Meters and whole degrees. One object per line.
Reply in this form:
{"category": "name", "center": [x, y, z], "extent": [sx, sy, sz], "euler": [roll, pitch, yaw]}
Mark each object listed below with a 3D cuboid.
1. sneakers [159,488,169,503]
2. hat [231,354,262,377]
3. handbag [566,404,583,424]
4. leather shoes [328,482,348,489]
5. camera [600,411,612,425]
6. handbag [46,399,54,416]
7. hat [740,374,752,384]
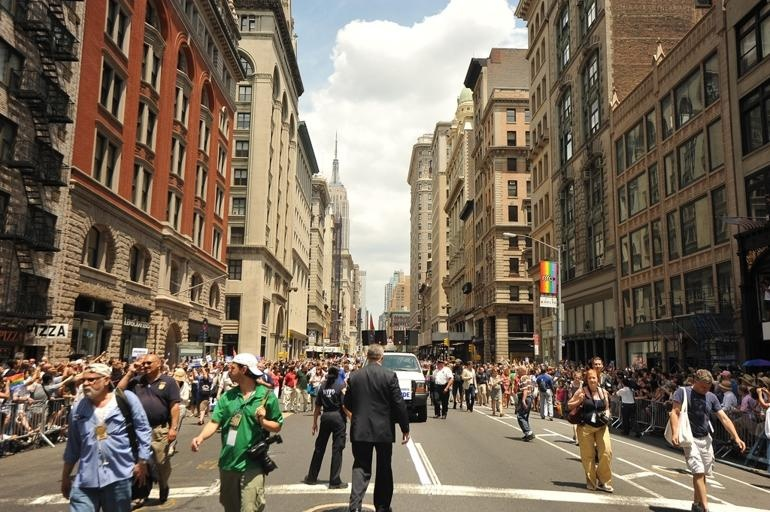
{"category": "sneakers", "center": [-5.734, 6.185, 15.879], "extent": [0.137, 0.457, 0.189], "euler": [0, -35, -4]}
{"category": "hat", "center": [-2.991, 2.350, 13.413], "extent": [0.639, 0.402, 0.426], "euler": [27, -10, -10]}
{"category": "handbag", "center": [5.451, 4.556, 17.650], "extent": [0.349, 0.530, 0.419], "euler": [-3, -15, 11]}
{"category": "leather shoes", "center": [-1.283, 6.362, 17.033], "extent": [0.459, 0.226, 0.192], "euler": [0, -5, -7]}
{"category": "camera", "center": [6.282, 4.575, 17.466], "extent": [0.136, 0.316, 0.392], "euler": [-7, -2, 23]}
{"category": "handbag", "center": [-12.348, 5.561, 22.690], "extent": [0.097, 0.390, 0.393], "euler": [7, -7, -8]}
{"category": "hat", "center": [13.831, 4.753, 23.380], "extent": [0.588, 0.243, 0.585], "euler": [8, 1, 35]}
